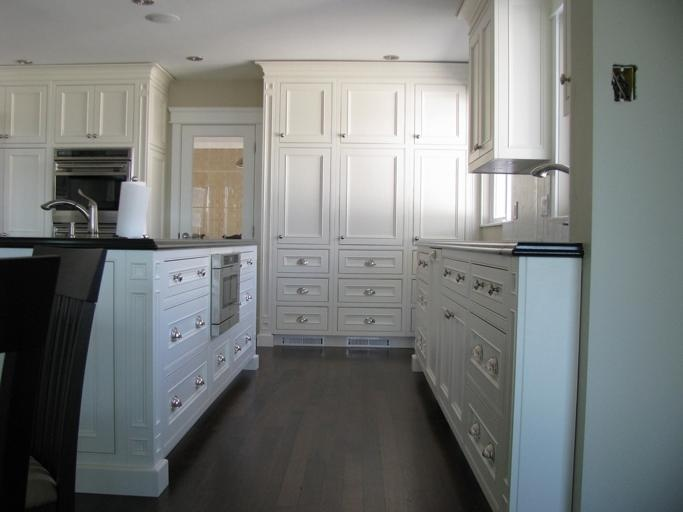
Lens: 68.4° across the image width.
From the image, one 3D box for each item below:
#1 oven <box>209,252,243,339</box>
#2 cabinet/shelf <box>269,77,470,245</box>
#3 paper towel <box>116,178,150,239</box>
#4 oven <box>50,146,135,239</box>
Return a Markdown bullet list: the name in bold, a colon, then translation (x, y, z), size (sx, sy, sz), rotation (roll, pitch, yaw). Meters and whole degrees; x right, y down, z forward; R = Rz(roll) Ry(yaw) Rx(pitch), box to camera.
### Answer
- **oven**: translation (-0.771, 0.220, 3.149), size (0.249, 0.465, 0.512), rotation (2, 3, 0)
- **cabinet/shelf**: translation (0.339, -0.936, 4.693), size (1.470, 1.393, 0.497), rotation (0, -1, 2)
- **paper towel**: translation (-1.167, -0.255, 2.815), size (0.171, 0.325, 0.343), rotation (-2, 7, -21)
- **oven**: translation (-2.451, -0.541, 5.046), size (0.666, 0.965, 0.491), rotation (-2, -9, -11)
